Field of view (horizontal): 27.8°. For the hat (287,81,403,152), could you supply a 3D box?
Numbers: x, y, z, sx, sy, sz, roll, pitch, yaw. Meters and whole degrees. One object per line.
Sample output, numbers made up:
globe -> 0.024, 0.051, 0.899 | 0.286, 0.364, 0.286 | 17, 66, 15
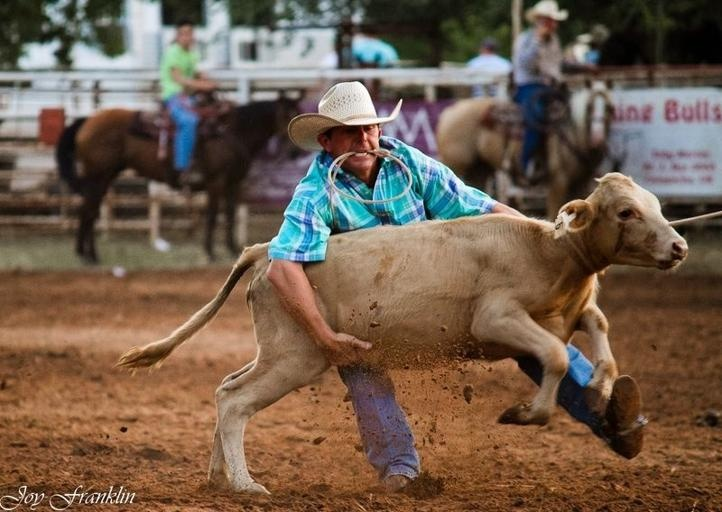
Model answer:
hat -> -0.232, -1.128, 11.821 | 0.655, 0.254, 0.661 | -11, -9, -33

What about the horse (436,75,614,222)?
horse -> 2.144, -1.205, 18.313 | 2.848, 1.876, 0.746 | 13, 29, 40
